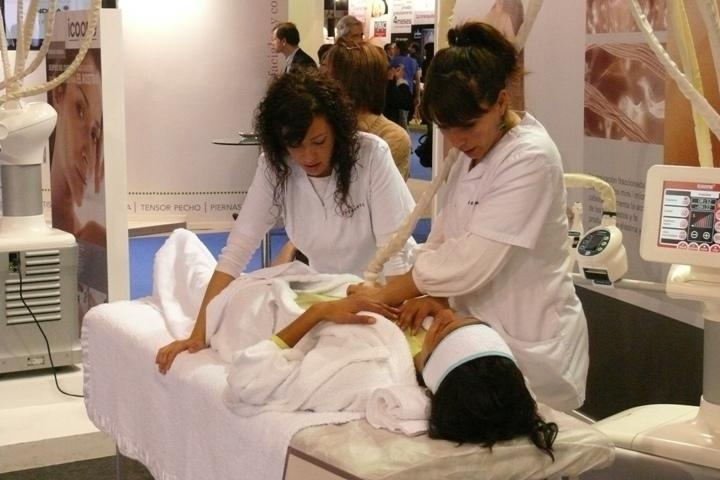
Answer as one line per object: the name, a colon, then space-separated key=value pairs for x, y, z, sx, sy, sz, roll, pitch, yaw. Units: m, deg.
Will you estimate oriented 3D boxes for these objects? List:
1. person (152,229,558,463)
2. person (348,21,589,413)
person: x=-0.181 y=0.295 z=2.117 sx=1.364 sy=0.466 sz=0.720 roll=5 pitch=11 yaw=21
person: x=0.422 y=0.053 z=2.077 sx=0.681 sy=1.411 sz=0.586 roll=-12 pitch=16 yaw=-32
